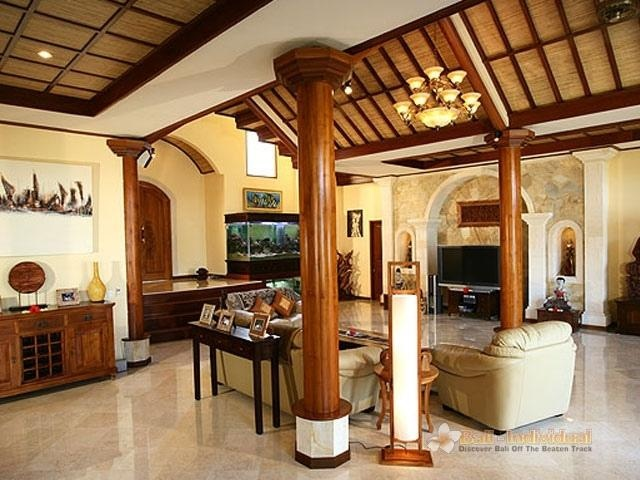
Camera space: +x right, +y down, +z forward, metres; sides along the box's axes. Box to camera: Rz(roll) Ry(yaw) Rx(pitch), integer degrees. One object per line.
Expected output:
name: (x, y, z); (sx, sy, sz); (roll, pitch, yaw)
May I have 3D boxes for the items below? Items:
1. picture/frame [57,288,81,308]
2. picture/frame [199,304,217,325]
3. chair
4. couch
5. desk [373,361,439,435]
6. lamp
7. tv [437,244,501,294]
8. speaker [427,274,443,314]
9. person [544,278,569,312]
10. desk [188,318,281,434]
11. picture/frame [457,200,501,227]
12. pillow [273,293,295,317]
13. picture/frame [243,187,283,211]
picture/frame: (-3.804, 0.869, 6.706); (0.029, 0.230, 0.289); (-32, -26, 36)
picture/frame: (-1.438, 0.976, 5.892); (0.269, 0.242, 0.072); (-2, -18, 32)
chair: (2.226, 1.439, 5.414); (1.769, 1.070, 1.238); (-3, 5, -31)
couch: (-0.353, 1.684, 6.089); (1.566, 1.080, 2.479); (7, -10, -38)
desk: (0.954, 1.766, 5.176); (0.862, 0.680, 0.869); (-1, -4, 5)
lamp: (1.577, -2.064, 6.181); (1.175, 1.113, 1.144); (-13, 8, -35)
tv: (3.650, 0.617, 10.820); (0.149, 0.995, 1.678); (-3, 1, -40)
speaker: (2.941, 1.363, 11.418); (0.396, 0.961, 0.500); (-5, -11, 33)
person: (5.075, 1.113, 9.434); (0.503, 0.672, 0.720); (2, 8, 28)
desk: (-1.039, 1.708, 5.563); (1.450, 1.060, 0.512); (2, 5, 44)
picture/frame: (3.943, -0.688, 10.854); (0.097, 0.487, 0.946); (0, 0, -42)
pillow: (-0.672, 1.153, 8.232); (0.440, 0.394, 0.155); (30, -47, -26)
picture/frame: (-1.683, -1.211, 13.166); (0.239, 0.679, 1.423); (4, 9, 39)
